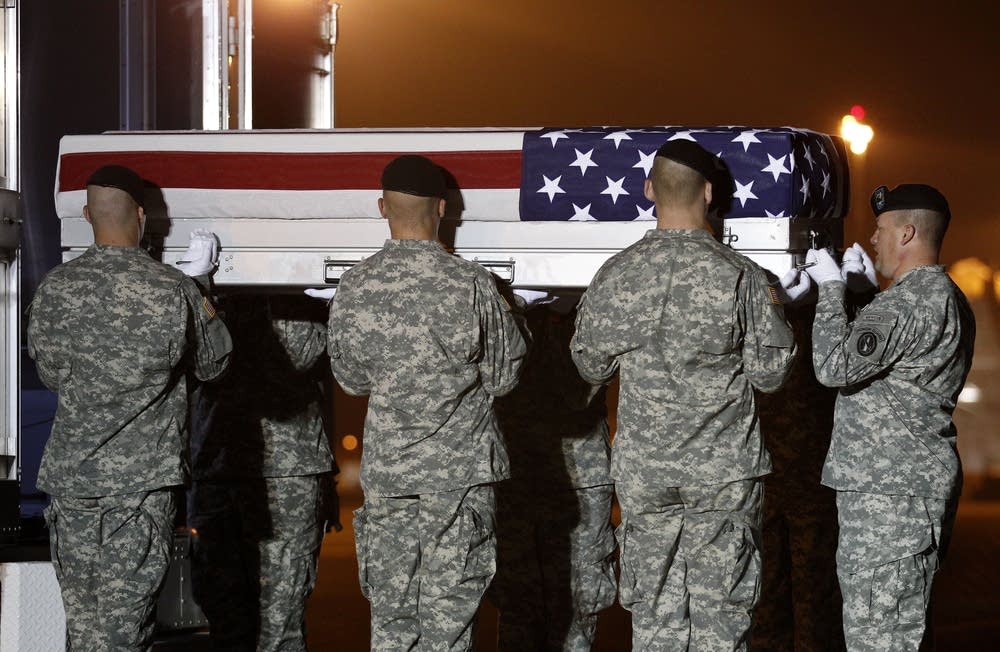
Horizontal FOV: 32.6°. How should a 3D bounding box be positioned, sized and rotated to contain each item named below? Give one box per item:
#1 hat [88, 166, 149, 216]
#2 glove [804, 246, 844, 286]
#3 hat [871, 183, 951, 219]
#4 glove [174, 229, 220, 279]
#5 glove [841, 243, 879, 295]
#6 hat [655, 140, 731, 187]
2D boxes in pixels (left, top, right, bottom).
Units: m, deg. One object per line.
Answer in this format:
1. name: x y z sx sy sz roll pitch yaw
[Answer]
1. hat: -2.039 -0.711 9.077 0.223 0.213 0.283 8 11 -4
2. glove: 1.707 -0.293 8.969 0.177 0.182 0.078 -15 16 41
3. hat: 2.188 -0.665 9.077 0.313 0.108 0.220 1 -2 14
4. glove: -1.639 -0.384 9.221 0.192 0.272 0.127 8 10 2
5. glove: 1.927 -0.296 9.108 0.202 0.244 0.084 -37 16 -37
6. hat: 1.018 -0.832 8.926 0.310 0.121 0.247 23 -9 -33
